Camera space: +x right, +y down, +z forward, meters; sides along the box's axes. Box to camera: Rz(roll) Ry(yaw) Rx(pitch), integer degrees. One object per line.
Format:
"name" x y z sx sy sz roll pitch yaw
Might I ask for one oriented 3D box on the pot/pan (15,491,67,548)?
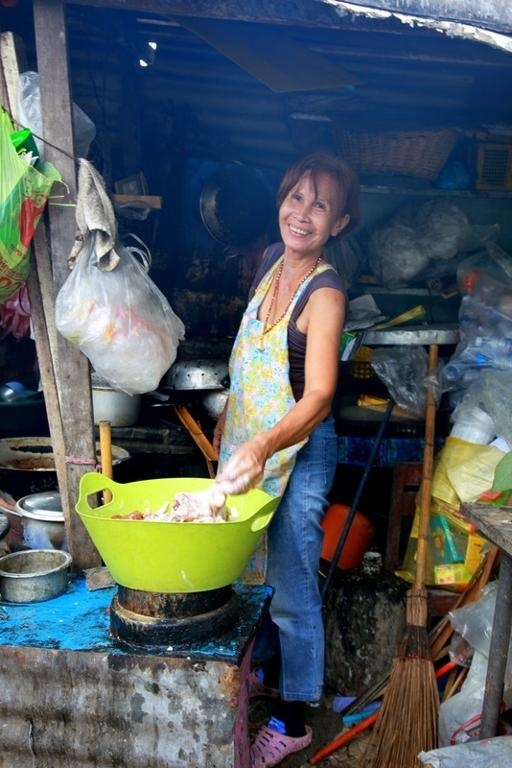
"pot/pan" -0.820 0.510 2.722 0.219 0.131 0.206 -1 -2 -2

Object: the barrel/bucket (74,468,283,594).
"barrel/bucket" -0.199 0.415 1.962 0.482 0.211 0.430 0 -4 18

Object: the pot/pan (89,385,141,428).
"pot/pan" -0.765 0.123 3.863 0.288 0.229 0.278 1 0 -28

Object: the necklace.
"necklace" 0.078 -0.324 2.573 0.145 0.412 0.036 14 -28 14

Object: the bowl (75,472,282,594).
"bowl" -0.232 0.414 2.009 0.549 0.302 0.547 4 5 0
